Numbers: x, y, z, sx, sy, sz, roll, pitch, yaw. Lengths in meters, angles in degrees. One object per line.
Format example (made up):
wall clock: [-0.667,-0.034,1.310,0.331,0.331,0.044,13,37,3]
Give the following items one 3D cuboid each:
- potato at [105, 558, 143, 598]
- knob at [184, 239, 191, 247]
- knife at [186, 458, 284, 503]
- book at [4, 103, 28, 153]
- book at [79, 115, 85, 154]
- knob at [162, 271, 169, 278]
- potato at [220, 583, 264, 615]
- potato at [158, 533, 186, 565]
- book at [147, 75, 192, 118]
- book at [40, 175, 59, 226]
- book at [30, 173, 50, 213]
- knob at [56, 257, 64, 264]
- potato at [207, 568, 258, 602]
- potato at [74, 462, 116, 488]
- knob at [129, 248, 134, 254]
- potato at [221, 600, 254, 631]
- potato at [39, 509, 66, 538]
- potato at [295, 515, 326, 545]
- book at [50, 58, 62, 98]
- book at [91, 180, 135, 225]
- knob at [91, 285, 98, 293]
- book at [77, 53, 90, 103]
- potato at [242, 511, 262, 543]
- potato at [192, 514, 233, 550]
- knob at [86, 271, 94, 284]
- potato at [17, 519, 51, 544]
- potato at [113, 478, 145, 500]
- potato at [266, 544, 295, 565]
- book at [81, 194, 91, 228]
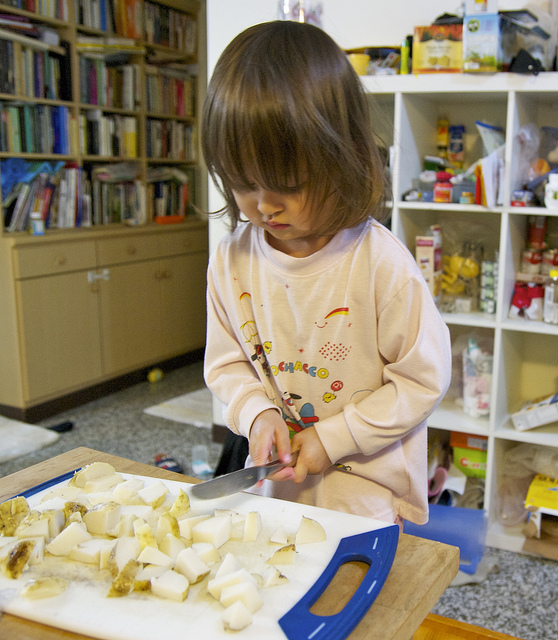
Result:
potato: [-0.147,0.251,0.524,0.017,0.033,0.008,32,-35,-5]
knob: [-0.632,-0.533,3.767,0.016,0.052,0.064,2,7,22]
knife: [-0.064,0.211,0.720,0.153,0.059,0.051,1,7,15]
book: [-1.372,-1.009,2.831,0.133,0.212,0.223,-5,24,-24]
book: [-1.131,-1.070,3.140,0.024,0.219,0.070,-1,7,-7]
knob: [-0.754,-0.302,3.615,0.017,0.043,0.061,2,7,26]
potato: [-0.033,0.252,0.492,0.031,0.023,0.023,-33,36,-30]
potato: [-0.115,0.245,0.585,0.018,0.024,0.028,4,4,34]
book: [-0.758,-1.555,3.733,0.069,0.296,0.293,9,5,40]
book: [-1.257,-0.665,3.018,0.069,0.299,0.045,17,-9,-34]
book: [-1.285,-0.692,2.939,0.052,0.226,0.060,13,-2,-7]
knob: [-1.161,-0.316,2.898,0.016,0.033,0.040,2,7,20]
potato: [-0.049,0.248,0.513,0.029,0.012,0.031,-26,-1,26]
potato: [-0.261,0.220,0.768,0.008,0.031,0.030,3,51,42]
knob: [-0.898,-0.423,3.328,0.012,0.034,0.041,1,6,12]
potato: [-0.036,0.257,0.466,0.019,0.018,0.021,18,37,24]
potato: [-0.255,0.234,0.629,0.025,0.032,0.034,-8,-21,2]
potato: [0.035,0.243,0.623,0.019,0.016,0.030,-5,-30,-41]
book: [-1.215,-1.329,2.971,0.025,0.204,0.074,1,7,17]
book: [-1.038,-0.735,3.397,0.063,0.269,0.278,10,12,35]
knob: [-1.055,-0.176,3.127,0.017,0.041,0.049,1,7,15]
book: [-1.110,-1.395,3.130,0.036,0.268,0.086,0,7,8]
potato: [-0.031,0.242,0.627,0.009,0.022,0.024,-4,3,22]
potato: [-0.074,0.239,0.613,0.029,0.020,0.033,14,26,28]
knob: [-1.067,-0.240,3.086,0.018,0.072,0.045,1,7,19]
potato: [-0.276,0.235,0.616,0.026,0.010,0.028,23,42,28]
potato: [-0.204,0.225,0.718,0.016,0.008,0.030,6,12,15]
potato: [0.001,0.252,0.574,0.010,0.025,0.015,37,2,-44]
book: [-1.131,-0.645,3.192,0.056,0.188,0.046,-3,7,-19]
